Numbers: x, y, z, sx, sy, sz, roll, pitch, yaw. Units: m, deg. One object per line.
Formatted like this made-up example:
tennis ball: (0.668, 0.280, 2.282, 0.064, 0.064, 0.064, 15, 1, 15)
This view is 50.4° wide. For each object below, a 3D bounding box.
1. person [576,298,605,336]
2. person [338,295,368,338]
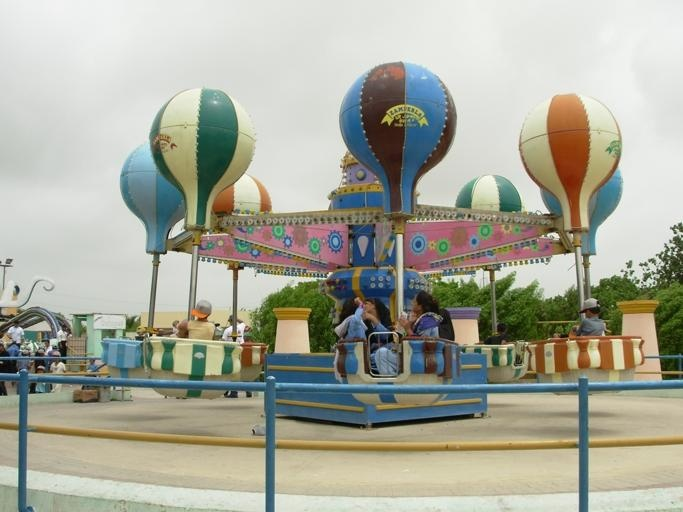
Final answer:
person: (4.233, 1.040, 12.388, 0.440, 0.722, 1.749, -3, -9, 18)
person: (0.149, 0.908, 10.522, 0.467, 0.655, 1.152, 0, -9, -1)
